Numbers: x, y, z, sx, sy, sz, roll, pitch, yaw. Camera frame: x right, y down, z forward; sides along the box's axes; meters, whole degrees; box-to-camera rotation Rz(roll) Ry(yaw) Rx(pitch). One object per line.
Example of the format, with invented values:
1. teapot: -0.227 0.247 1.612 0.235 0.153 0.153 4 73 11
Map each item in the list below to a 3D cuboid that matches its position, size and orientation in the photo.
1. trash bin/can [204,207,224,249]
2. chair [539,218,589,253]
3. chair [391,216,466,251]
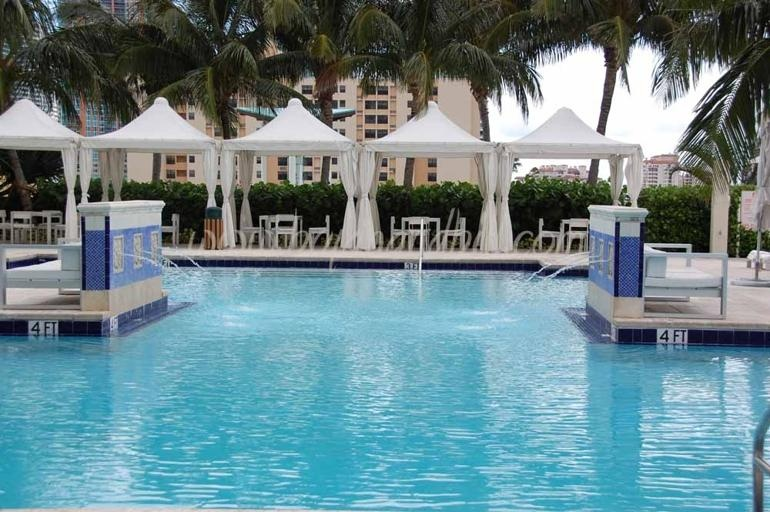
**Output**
1. trash bin/can: -4.150 -0.662 18.075 0.441 0.979 0.531 -1 8 -14
2. chair: 4.333 -0.455 17.996 1.009 0.500 1.030 1 5 1
3. chair: 1.047 -0.523 18.526 1.163 0.596 1.194 2 5 8
